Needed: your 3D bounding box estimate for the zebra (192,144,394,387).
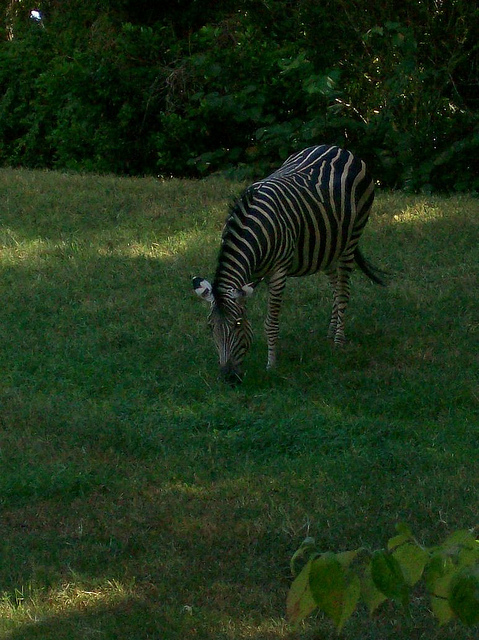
[{"bbox_3d":[0.835,-0.689,8.901,0.923,1.768,3.428,1,22,29],"label":"zebra"}]
